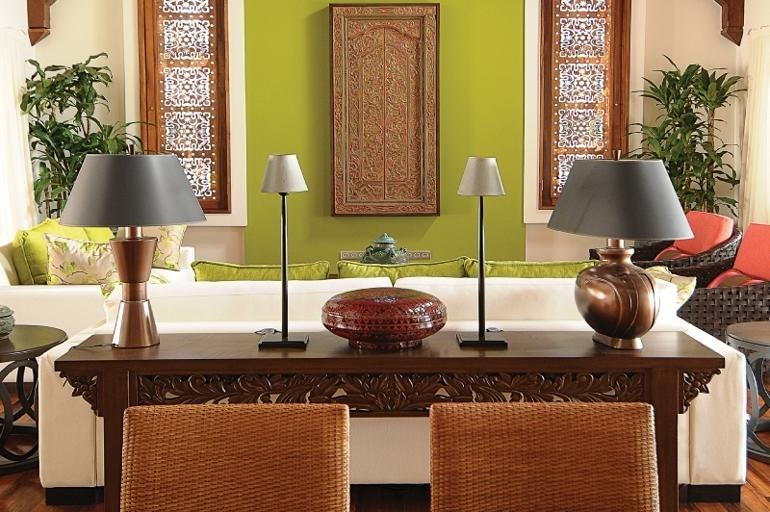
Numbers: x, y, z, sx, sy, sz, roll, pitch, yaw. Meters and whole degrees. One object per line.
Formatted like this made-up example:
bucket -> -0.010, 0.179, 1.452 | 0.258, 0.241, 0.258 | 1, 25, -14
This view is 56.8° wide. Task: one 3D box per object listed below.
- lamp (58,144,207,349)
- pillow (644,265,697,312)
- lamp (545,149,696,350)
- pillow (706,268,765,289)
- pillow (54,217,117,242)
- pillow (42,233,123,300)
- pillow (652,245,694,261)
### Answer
lamp -> -1.072, -0.029, 3.098 | 0.571, 0.824, 0.249 | -8, 16, -17
pillow -> 1.547, 0.143, 3.753 | 0.106, 0.284, 0.319 | 6, 6, -26
lamp -> 1.139, -0.029, 3.373 | 0.858, 0.915, 0.860 | 3, 6, 34
pillow -> 2.684, 0.149, 5.421 | 0.207, 0.084, 0.276 | -2, 3, -39
pillow -> -1.845, -0.156, 4.364 | 0.266, 0.204, 0.073 | 6, -24, -29
pillow -> -2.006, 0.082, 4.705 | 0.548, 0.300, 0.168 | 2, -5, -7
pillow -> 2.489, -0.022, 6.218 | 0.189, 0.044, 0.175 | -9, 18, -15
